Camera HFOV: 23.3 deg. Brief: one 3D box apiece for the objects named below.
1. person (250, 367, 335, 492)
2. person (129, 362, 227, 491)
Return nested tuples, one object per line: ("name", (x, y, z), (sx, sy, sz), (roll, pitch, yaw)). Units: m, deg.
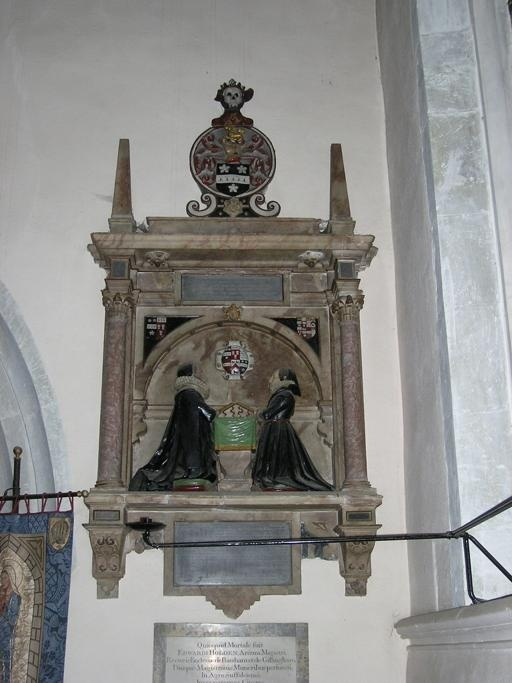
("person", (0.115, 0.464, 6.059), (0.515, 0.733, 0.395), (3, -23, 1))
("person", (-0.374, 0.497, 6.230), (0.531, 0.763, 0.436), (2, -12, -4))
